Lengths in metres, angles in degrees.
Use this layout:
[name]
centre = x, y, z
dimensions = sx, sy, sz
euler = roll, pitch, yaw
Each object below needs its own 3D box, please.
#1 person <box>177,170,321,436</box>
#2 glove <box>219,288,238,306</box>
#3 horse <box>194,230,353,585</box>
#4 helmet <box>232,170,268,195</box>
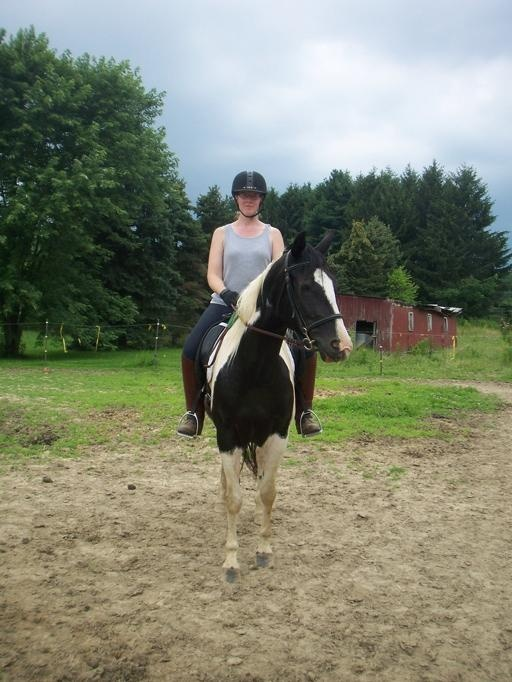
[person]
centre = -0.057, -0.333, 5.234
dimensions = 1.291, 2.220, 1.190
euler = -1, 9, -9
[glove]
centre = -0.203, -0.350, 4.662
dimensions = 0.110, 0.144, 0.050
euler = -32, -33, -12
[horse]
centre = 0.056, 0.489, 4.376
dimensions = 0.762, 2.430, 1.819
euler = 0, 5, -9
[helmet]
centre = -0.047, -1.311, 5.038
dimensions = 0.268, 0.191, 0.299
euler = 1, 5, -3
